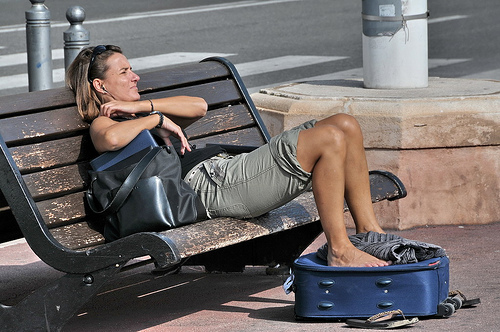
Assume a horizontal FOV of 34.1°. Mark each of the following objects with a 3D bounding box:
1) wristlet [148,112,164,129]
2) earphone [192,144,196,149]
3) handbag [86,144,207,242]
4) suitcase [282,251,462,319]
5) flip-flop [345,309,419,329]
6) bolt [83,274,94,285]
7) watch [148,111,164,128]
[{"bbox_3d":[-0.636,-0.307,5.491,0.037,0.090,0.087,10,-4,-30],"label":"wristlet"},{"bbox_3d":[-0.409,-0.138,5.926,0.022,0.019,0.029,3,6,17],"label":"earphone"},{"bbox_3d":[-0.678,0.224,5.346,0.728,0.457,0.540,-16,-6,32],"label":"handbag"},{"bbox_3d":[0.788,0.782,5.114,1.030,0.420,0.247,-4,14,9],"label":"suitcase"},{"bbox_3d":[0.821,0.956,5.009,0.455,0.112,0.122,-5,13,0],"label":"flip-flop"},{"bbox_3d":[-0.982,0.696,4.943,0.069,0.057,0.015,7,1,8],"label":"bolt"},{"bbox_3d":[-0.633,-0.305,5.498,0.095,0.109,0.046,26,40,13],"label":"watch"}]
